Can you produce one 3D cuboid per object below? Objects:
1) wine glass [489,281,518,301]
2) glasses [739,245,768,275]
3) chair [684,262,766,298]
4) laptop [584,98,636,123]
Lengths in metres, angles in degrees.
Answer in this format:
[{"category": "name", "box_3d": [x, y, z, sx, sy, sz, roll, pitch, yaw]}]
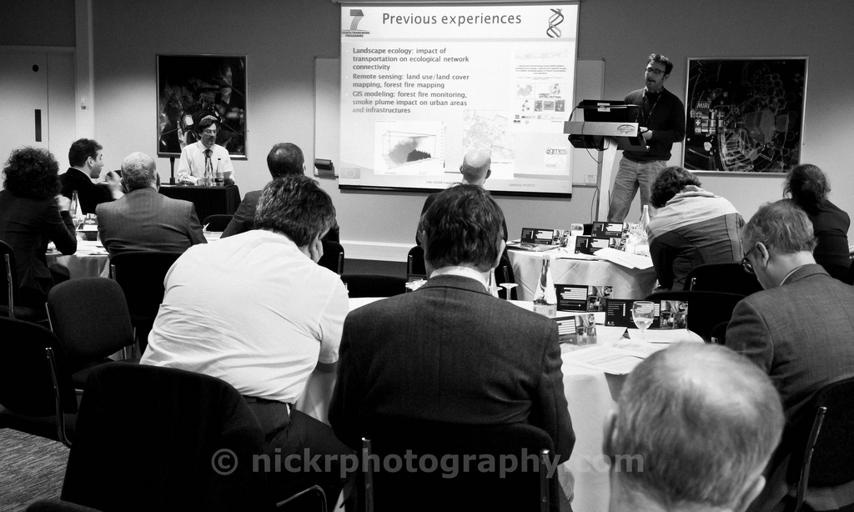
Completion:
[{"category": "wine glass", "box_3d": [0.474, 0.220, 4.032, 0.165, 0.079, 0.249, 0, 2, 19]}, {"category": "glasses", "box_3d": [1.616, 0.023, 3.216, 0.045, 0.145, 0.152, 29, 65, 21]}, {"category": "chair", "box_3d": [2.068, 0.172, 4.517, 0.417, 0.314, 0.429, -3, -12, 18]}, {"category": "laptop", "box_3d": [1.778, -1.401, 6.425, 0.354, 0.260, 0.268, 2, 1, 9]}]
